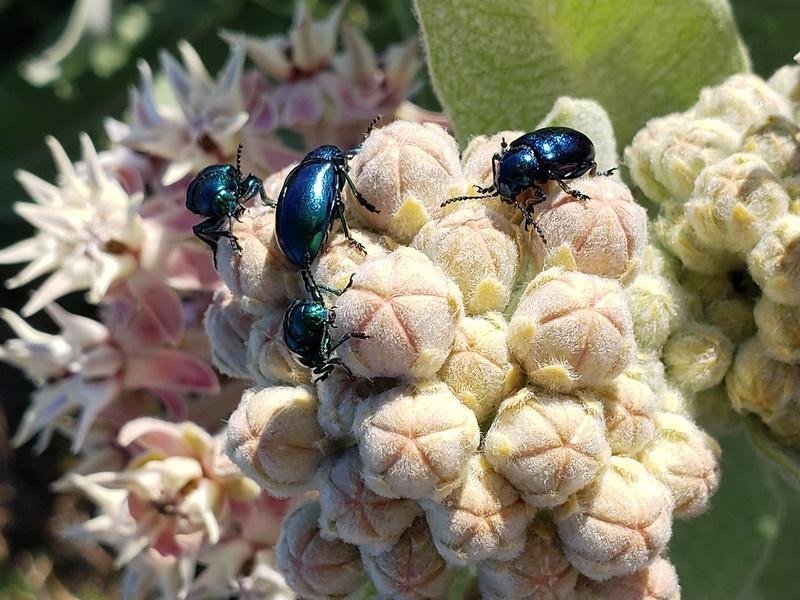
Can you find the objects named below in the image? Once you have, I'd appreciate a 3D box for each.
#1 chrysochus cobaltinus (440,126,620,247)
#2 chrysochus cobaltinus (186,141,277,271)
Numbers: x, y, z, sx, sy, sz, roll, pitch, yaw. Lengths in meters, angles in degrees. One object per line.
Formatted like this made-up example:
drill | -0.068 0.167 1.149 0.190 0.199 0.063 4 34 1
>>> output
chrysochus cobaltinus | 0.310 -0.308 2.530 0.254 0.114 0.349 28 57 29
chrysochus cobaltinus | -0.466 -0.235 2.843 0.237 0.102 0.299 -43 42 10
